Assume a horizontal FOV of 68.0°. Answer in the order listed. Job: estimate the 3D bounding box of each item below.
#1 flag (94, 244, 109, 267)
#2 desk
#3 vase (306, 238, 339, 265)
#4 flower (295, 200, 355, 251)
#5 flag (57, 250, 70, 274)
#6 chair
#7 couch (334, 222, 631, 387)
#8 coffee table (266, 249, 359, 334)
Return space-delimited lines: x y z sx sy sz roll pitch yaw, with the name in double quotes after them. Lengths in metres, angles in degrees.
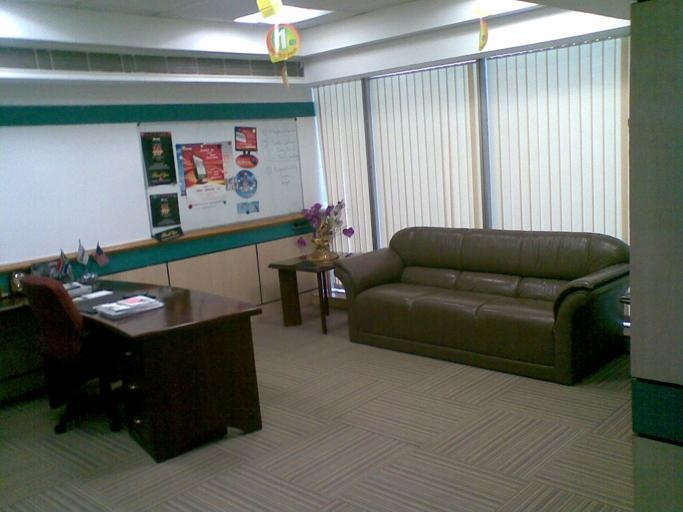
-2.579 -0.011 5.431 0.144 0.260 0.262 -11 13 -26 "flag"
-1.354 0.893 4.133 0.952 1.026 1.245 -16 16 -41 "desk"
-0.236 -0.054 6.239 0.318 0.196 0.322 -1 2 5 "vase"
-0.193 -0.298 6.608 0.722 0.726 0.712 2 -2 -31 "flower"
-2.849 0.054 5.179 0.117 0.206 0.243 -10 13 -22 "flag"
-2.238 0.765 4.705 1.186 1.726 1.157 -3 5 -31 "chair"
1.344 0.362 5.299 2.801 1.209 1.186 3 9 44 "couch"
-0.445 0.466 6.474 0.957 0.779 1.059 -7 -1 -20 "coffee table"
